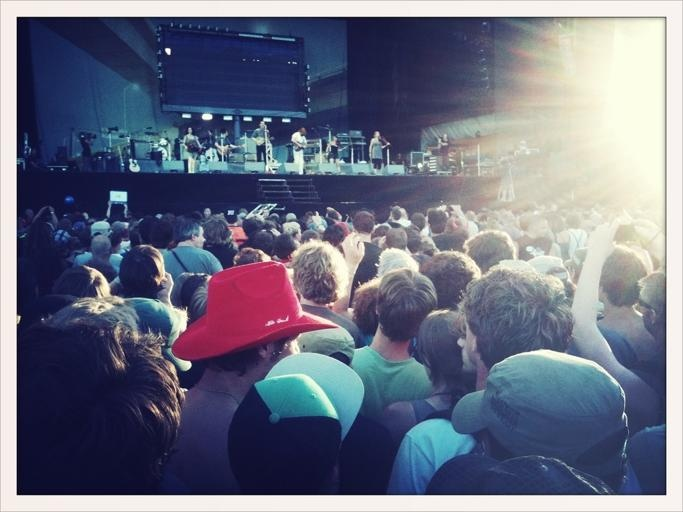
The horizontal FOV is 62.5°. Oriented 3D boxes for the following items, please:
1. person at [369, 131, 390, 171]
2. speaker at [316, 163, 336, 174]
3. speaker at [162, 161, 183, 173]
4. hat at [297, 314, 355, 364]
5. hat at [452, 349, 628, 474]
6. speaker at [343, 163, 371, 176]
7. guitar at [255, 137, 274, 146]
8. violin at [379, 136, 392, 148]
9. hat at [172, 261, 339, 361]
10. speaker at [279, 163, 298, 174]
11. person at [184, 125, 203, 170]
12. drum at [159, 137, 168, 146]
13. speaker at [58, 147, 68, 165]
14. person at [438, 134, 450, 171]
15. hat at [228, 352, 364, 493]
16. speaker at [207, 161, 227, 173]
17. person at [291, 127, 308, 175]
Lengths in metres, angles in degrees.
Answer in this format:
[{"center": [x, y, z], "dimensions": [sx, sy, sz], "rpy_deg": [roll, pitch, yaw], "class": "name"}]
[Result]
[{"center": [0.935, -2.484, 13.795], "dimensions": [0.495, 1.088, 0.305], "rpy_deg": [5, -15, 4], "class": "person"}, {"center": [-0.348, -2.051, 13.237], "dimensions": [0.317, 0.155, 0.321], "rpy_deg": [-4, 10, -17], "class": "speaker"}, {"center": [-3.480, -1.839, 11.608], "dimensions": [0.340, 0.227, 0.367], "rpy_deg": [1, 7, 10], "class": "speaker"}, {"center": [-0.092, 0.539, 3.749], "dimensions": [0.346, 0.190, 0.218], "rpy_deg": [19, 4, 10], "class": "hat"}, {"center": [1.207, 0.927, 3.457], "dimensions": [0.897, 0.468, 0.656], "rpy_deg": [11, 14, 23], "class": "hat"}, {"center": [0.299, -2.061, 13.349], "dimensions": [0.442, 0.187, 0.451], "rpy_deg": [5, 4, 43], "class": "speaker"}, {"center": [-1.775, -2.636, 12.977], "dimensions": [0.329, 0.166, 0.633], "rpy_deg": [4, 13, 35], "class": "guitar"}, {"center": [1.075, -2.820, 13.974], "dimensions": [0.233, 0.165, 0.307], "rpy_deg": [-22, 6, 9], "class": "violin"}, {"center": [-0.545, 0.275, 3.541], "dimensions": [1.040, 0.477, 0.873], "rpy_deg": [-9, 15, -25], "class": "hat"}, {"center": [-1.197, -1.993, 12.812], "dimensions": [0.444, 0.215, 0.184], "rpy_deg": [-5, 10, -9], "class": "speaker"}, {"center": [-3.430, -2.387, 12.858], "dimensions": [0.353, 1.040, 0.310], "rpy_deg": [-1, 13, -18], "class": "person"}, {"center": [-3.984, -2.524, 12.570], "dimensions": [0.155, 0.197, 0.335], "rpy_deg": [-5, 10, -10], "class": "drum"}, {"center": [-5.313, -1.906, 10.686], "dimensions": [0.164, 0.324, 0.497], "rpy_deg": [-8, 11, -25], "class": "speaker"}, {"center": [2.629, -2.649, 14.419], "dimensions": [0.275, 0.898, 0.433], "rpy_deg": [-1, 10, 12], "class": "person"}, {"center": [-0.254, 1.045, 3.449], "dimensions": [0.780, 0.819, 0.457], "rpy_deg": [-11, 13, -39], "class": "hat"}, {"center": [-2.617, -1.874, 11.912], "dimensions": [0.307, 0.205, 0.328], "rpy_deg": [-2, 8, -15], "class": "speaker"}, {"center": [-1.009, -2.507, 13.384], "dimensions": [0.350, 1.043, 1.345], "rpy_deg": [-4, 10, -5], "class": "person"}]
